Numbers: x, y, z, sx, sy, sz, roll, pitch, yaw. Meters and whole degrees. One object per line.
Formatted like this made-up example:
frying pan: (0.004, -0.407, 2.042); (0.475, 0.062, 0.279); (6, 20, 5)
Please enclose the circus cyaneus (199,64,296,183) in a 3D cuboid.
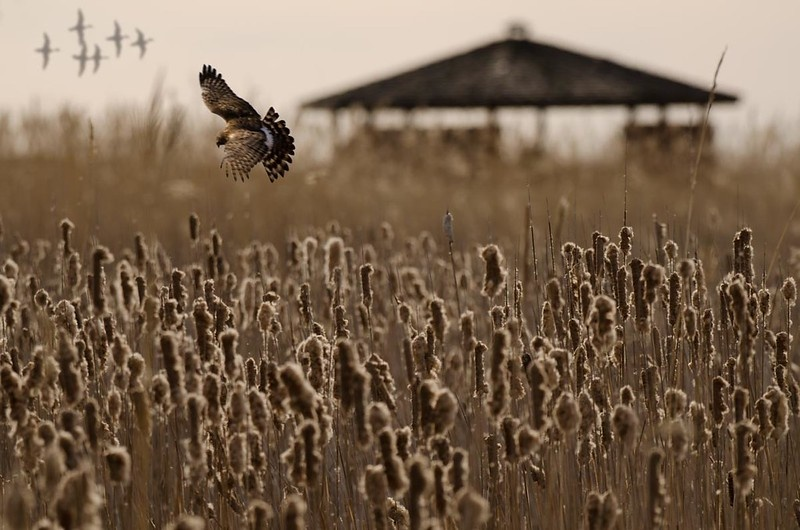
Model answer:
circus cyaneus: (-0.997, -0.917, 10.530); (0.614, 0.698, 0.411); (2, 3, -6)
